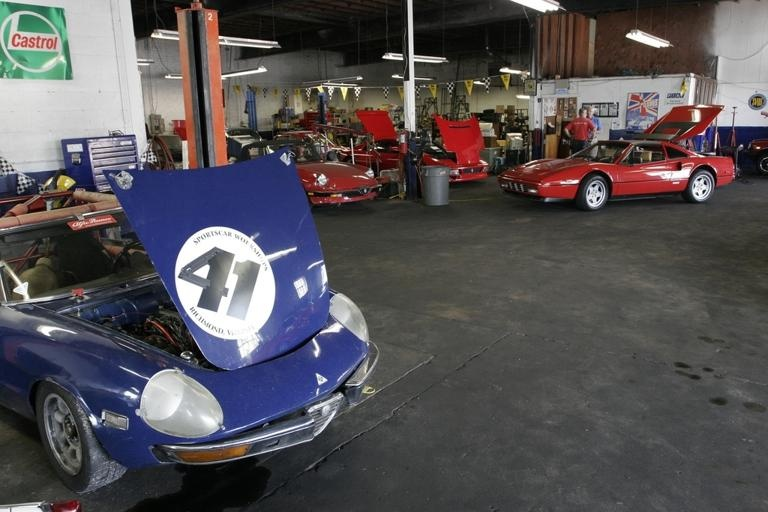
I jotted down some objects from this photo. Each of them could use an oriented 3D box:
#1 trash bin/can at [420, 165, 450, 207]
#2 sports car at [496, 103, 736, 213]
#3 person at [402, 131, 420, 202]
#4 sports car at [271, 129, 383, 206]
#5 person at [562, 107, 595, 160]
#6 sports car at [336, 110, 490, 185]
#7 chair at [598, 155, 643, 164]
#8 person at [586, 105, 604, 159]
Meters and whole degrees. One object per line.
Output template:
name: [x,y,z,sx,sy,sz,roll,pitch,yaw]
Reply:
trash bin/can: [1.125,-1.807,12.950,0.847,0.932,0.878,-5,10,-17]
sports car: [5.573,-2.167,11.665,5.052,2.290,0.939,-8,18,-9]
person: [0.765,-2.509,13.562,0.388,2.063,0.493,-17,39,-17]
sports car: [-1.791,-2.217,12.238,2.856,1.060,1.465,16,23,41]
person: [5.762,-3.564,14.958,0.745,1.917,0.546,8,42,23]
sports car: [0.821,-3.303,15.206,3.745,2.069,2.122,10,18,34]
chair: [5.487,-2.212,11.461,0.636,0.216,0.407,-2,20,-10]
person: [6.097,-3.631,14.937,0.524,1.614,0.506,2,-2,22]
